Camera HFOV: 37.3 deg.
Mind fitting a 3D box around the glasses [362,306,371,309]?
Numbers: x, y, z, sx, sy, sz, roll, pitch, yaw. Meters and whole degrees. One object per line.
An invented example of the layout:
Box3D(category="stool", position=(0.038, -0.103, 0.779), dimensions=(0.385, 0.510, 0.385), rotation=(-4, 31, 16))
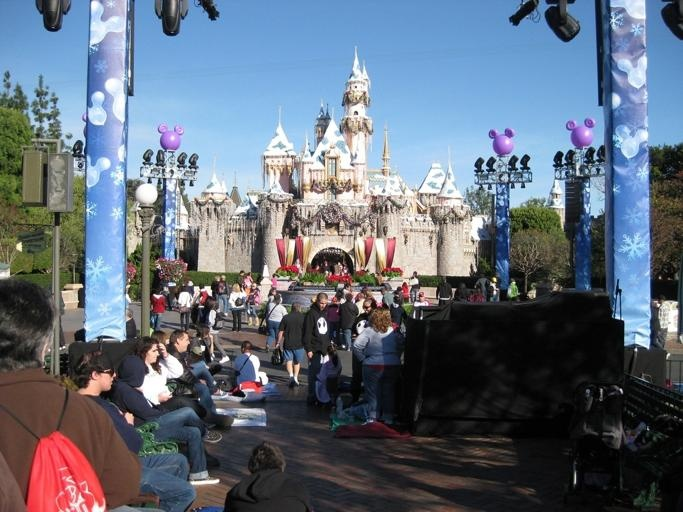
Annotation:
Box3D(category="glasses", position=(0.471, 1.051, 20.267), dimensions=(0.147, 0.126, 0.121), rotation=(-2, -2, 37))

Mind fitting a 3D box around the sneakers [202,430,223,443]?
Box3D(category="sneakers", position=(-1.959, 2.696, 15.095), dimensions=(0.268, 0.133, 0.121), rotation=(0, 13, -6))

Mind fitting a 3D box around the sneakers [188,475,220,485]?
Box3D(category="sneakers", position=(-1.852, 2.998, 13.443), dimensions=(0.377, 0.184, 0.142), rotation=(1, -3, -8))

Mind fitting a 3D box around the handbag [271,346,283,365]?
Box3D(category="handbag", position=(-1.314, 1.985, 19.922), dimensions=(0.231, 0.535, 0.481), rotation=(1, -4, 2))

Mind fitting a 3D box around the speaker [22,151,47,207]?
Box3D(category="speaker", position=(-4.522, -1.185, 14.812), dimensions=(0.344, 0.849, 0.535), rotation=(2, -5, -20))

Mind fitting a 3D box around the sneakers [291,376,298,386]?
Box3D(category="sneakers", position=(-0.911, 2.376, 19.256), dimensions=(0.124, 0.147, 0.239), rotation=(3, -9, -5))

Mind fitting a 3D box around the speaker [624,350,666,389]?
Box3D(category="speaker", position=(4.636, 1.726, 15.481), dimensions=(0.489, 0.578, 0.294), rotation=(1, -5, 3))

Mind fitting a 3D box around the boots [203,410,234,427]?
Box3D(category="boots", position=(-1.904, 2.526, 15.521), dimensions=(0.486, 0.213, 0.359), rotation=(5, -20, -20))

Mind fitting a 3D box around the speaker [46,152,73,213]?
Box3D(category="speaker", position=(-4.116, -1.081, 14.649), dimensions=(0.361, 0.909, 0.419), rotation=(1, -5, -15))
